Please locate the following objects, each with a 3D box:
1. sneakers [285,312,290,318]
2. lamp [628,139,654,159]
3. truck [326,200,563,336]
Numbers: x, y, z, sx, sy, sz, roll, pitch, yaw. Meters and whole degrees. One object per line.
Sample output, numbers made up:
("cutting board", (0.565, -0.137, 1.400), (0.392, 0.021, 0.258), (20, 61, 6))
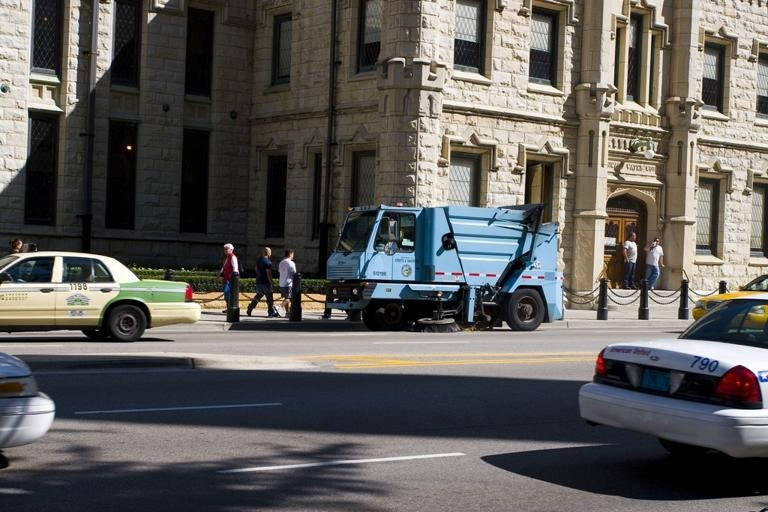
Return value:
("sneakers", (-2.786, 1.733, 33.982), (0.156, 0.092, 0.143), (1, -4, -5))
("lamp", (9.175, -3.806, 41.506), (0.837, 0.390, 0.741), (22, 12, 13))
("truck", (1.727, 0.442, 32.706), (6.700, 3.009, 2.895), (3, -4, -26))
